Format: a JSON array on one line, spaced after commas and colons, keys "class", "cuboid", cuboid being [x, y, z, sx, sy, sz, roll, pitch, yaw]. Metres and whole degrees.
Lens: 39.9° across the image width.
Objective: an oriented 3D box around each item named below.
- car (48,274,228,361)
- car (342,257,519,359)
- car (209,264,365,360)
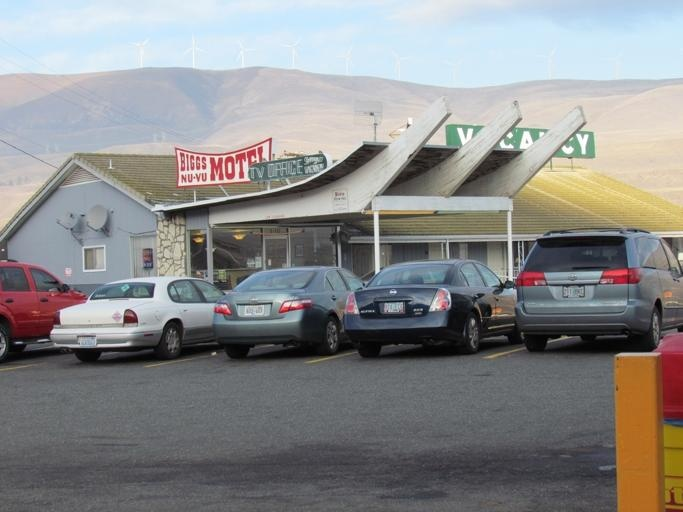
[{"class": "car", "cuboid": [-3.585, 1.151, 18.289, 1.603, 1.001, 3.607, 0, 3, 23]}, {"class": "car", "cuboid": [1.705, 0.924, 16.786, 1.755, 1.661, 3.061, 0, 3, 43]}, {"class": "car", "cuboid": [-0.699, 0.920, 17.492, 1.321, 0.898, 2.860, -2, 1, 20]}]
